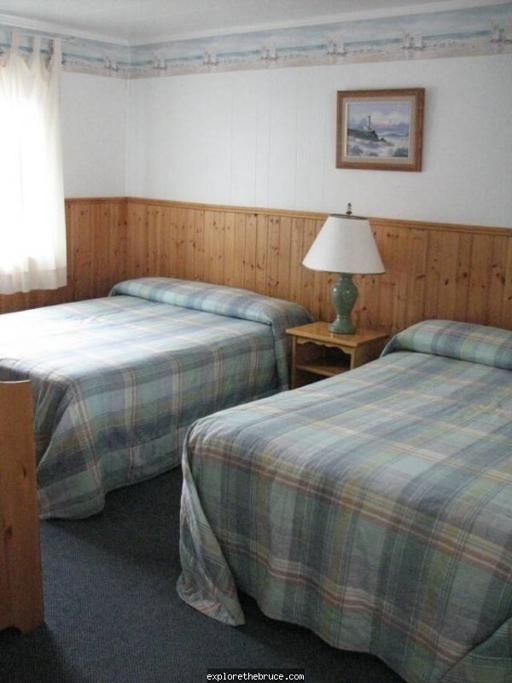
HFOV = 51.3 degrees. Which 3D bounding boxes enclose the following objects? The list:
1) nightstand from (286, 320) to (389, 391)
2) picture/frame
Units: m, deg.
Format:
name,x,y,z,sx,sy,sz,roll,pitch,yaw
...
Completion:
name,x,y,z,sx,sy,sz,roll,pitch,yaw
nightstand,0.518,0.034,3.372,0.509,0.497,0.470,18,28,39
picture/frame,0.775,-1.314,3.265,0.538,0.467,0.042,15,23,35
